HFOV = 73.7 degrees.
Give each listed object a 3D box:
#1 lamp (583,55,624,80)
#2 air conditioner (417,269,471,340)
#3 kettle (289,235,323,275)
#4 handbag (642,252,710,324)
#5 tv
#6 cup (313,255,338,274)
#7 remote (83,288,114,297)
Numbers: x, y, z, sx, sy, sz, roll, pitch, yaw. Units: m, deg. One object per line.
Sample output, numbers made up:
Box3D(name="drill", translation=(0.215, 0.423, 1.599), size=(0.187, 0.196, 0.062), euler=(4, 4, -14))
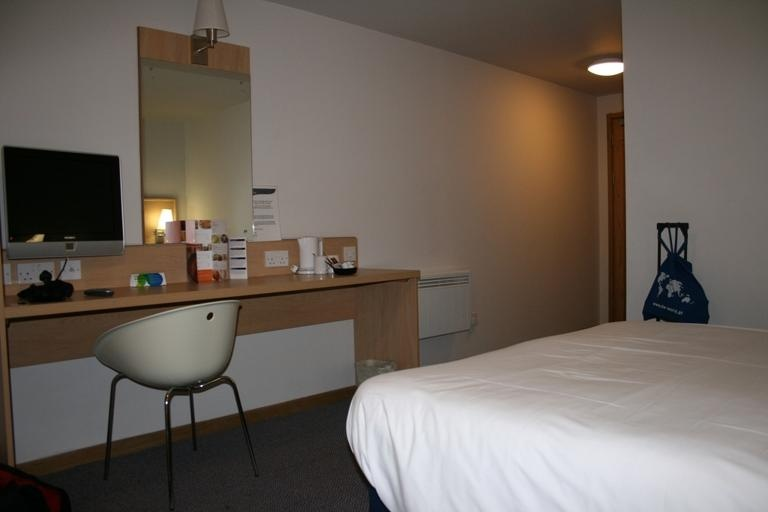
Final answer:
Box3D(name="lamp", translation=(2.085, -1.784, 4.821), size=(0.323, 0.123, 0.287), euler=(1, 9, 10))
Box3D(name="air conditioner", translation=(0.601, 0.411, 4.272), size=(0.317, 0.557, 0.628), euler=(7, -14, -36))
Box3D(name="kettle", translation=(-0.510, 0.001, 3.496), size=(0.189, 0.232, 0.190), euler=(0, 3, -21))
Box3D(name="handbag", translation=(1.874, 0.210, 3.254), size=(0.410, 0.460, 0.187), euler=(-1, -9, 41))
Box3D(name="tv", translation=(-1.709, -0.269, 2.678), size=(0.068, 0.655, 0.611), euler=(-2, -1, 43))
Box3D(name="cup", translation=(-0.384, 0.070, 3.441), size=(0.146, 0.151, 0.084), euler=(1, 1, 11))
Box3D(name="remote", translation=(-1.447, 0.188, 2.596), size=(0.161, 0.039, 0.081), euler=(-3, -2, 28))
